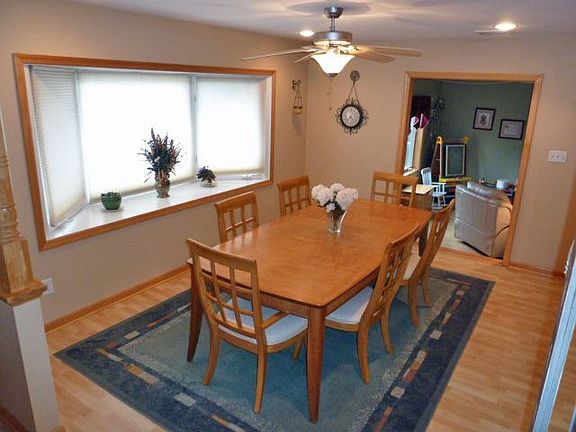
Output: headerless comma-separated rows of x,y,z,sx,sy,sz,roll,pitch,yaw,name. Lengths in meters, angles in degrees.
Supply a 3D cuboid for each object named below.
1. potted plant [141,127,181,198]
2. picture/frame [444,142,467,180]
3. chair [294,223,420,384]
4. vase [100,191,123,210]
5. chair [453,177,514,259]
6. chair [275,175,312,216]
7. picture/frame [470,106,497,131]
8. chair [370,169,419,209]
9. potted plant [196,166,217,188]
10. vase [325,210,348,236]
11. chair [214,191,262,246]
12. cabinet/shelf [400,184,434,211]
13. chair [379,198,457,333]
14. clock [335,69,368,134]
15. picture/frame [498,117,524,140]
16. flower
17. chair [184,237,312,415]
-1.412,-0.571,4.856,0.433,0.704,0.520,1,2,12,potted plant
3.427,-1.139,8.927,0.490,0.690,0.390,0,2,0,picture/frame
0.575,0.668,3.535,0.797,1.245,0.686,10,20,30,chair
-1.820,-0.164,4.381,0.181,0.148,0.171,-3,17,-22,vase
2.785,-0.002,6.028,0.473,0.849,0.870,-9,21,-17,chair
0.043,-0.237,5.061,0.332,0.592,0.352,-25,38,-38,chair
3.957,-1.970,8.617,0.412,0.530,0.034,17,22,35,picture/frame
1.292,-0.321,5.309,0.365,0.650,0.381,15,23,35,chair
-1.022,-0.481,5.294,0.232,0.182,0.245,-4,6,-7,potted plant
0.430,0.044,3.839,0.173,0.238,0.201,2,15,9,vase
-0.526,0.027,4.264,0.356,0.622,0.362,-24,40,-36,chair
1.907,-0.311,6.360,0.352,0.579,0.598,9,21,27,cabinet/shelf
1.120,0.405,4.110,0.683,1.150,0.707,-14,25,-41,chair
0.878,-1.548,5.892,0.473,0.828,0.079,9,20,31,clock
4.378,-1.708,8.361,0.415,0.441,0.034,13,26,36,picture/frame
0.419,-0.044,3.826,0.370,0.397,0.368,1,7,-19,flower
-0.222,0.713,3.240,0.756,1.183,0.865,8,18,17,chair
